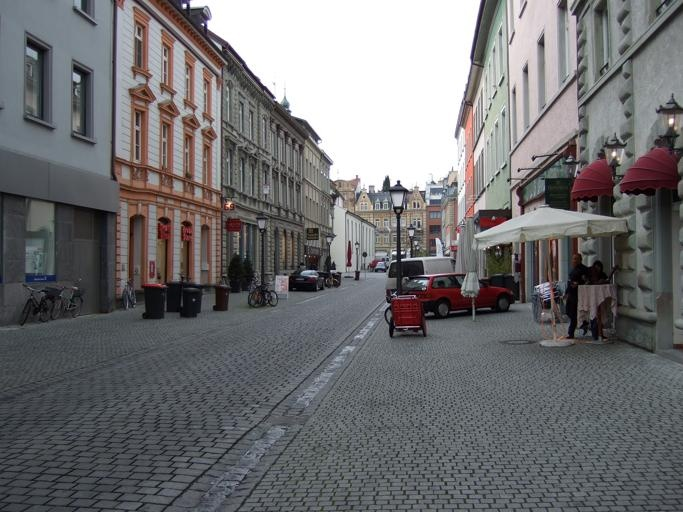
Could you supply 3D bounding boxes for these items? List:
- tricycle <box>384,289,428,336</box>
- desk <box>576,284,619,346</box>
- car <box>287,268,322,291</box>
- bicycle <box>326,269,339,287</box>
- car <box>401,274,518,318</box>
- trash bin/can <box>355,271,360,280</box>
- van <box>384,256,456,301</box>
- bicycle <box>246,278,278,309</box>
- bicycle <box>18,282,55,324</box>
[{"bbox_3d":[1.682,1.603,16.135,0.737,1.138,1.518,-4,0,7],"label":"tricycle"},{"bbox_3d":[5.561,1.271,13.619,0.941,1.461,1.038,2,-5,-13],"label":"desk"},{"bbox_3d":[-2.359,1.582,40.742,2.158,1.337,3.066,0,1,2],"label":"car"},{"bbox_3d":[-0.703,1.782,47.387,0.751,1.615,1.553,0,3,14],"label":"bicycle"},{"bbox_3d":[4.036,1.201,21.632,3.364,1.419,1.573,-3,1,-28],"label":"car"},{"bbox_3d":[1.755,2.027,64.396,0.583,0.971,0.653,0,-3,-12],"label":"trash bin/can"},{"bbox_3d":[3.277,1.227,26.750,2.037,2.233,2.698,-2,2,30],"label":"van"},{"bbox_3d":[-3.294,1.673,26.266,0.710,1.094,1.530,-3,-8,34],"label":"bicycle"},{"bbox_3d":[-8.727,1.343,17.896,0.426,1.125,1.388,0,1,1],"label":"bicycle"}]
